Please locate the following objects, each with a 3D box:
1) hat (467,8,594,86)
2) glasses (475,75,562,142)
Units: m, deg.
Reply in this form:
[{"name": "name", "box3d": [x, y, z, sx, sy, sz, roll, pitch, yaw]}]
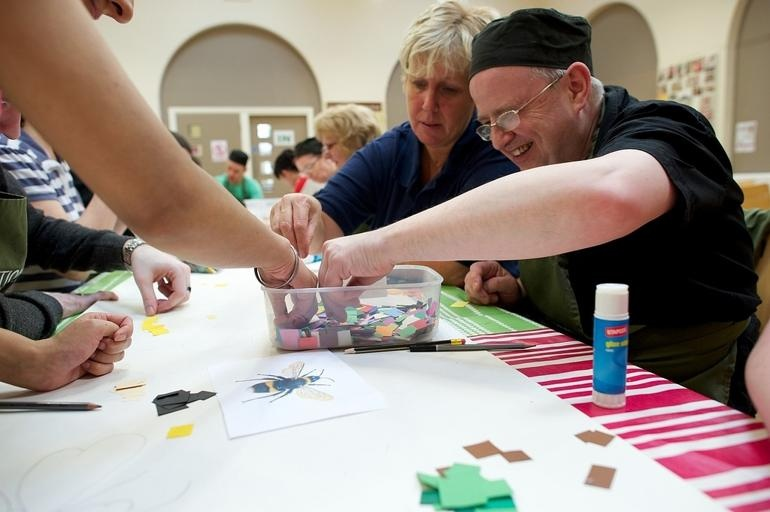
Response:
[{"name": "hat", "box3d": [0.417, -0.576, 1.584, 0.244, 0.127, 0.241, -7, 8, -33]}, {"name": "glasses", "box3d": [0.421, -0.433, 1.632, 0.166, 0.048, 0.161, -40, 3, -11]}]
